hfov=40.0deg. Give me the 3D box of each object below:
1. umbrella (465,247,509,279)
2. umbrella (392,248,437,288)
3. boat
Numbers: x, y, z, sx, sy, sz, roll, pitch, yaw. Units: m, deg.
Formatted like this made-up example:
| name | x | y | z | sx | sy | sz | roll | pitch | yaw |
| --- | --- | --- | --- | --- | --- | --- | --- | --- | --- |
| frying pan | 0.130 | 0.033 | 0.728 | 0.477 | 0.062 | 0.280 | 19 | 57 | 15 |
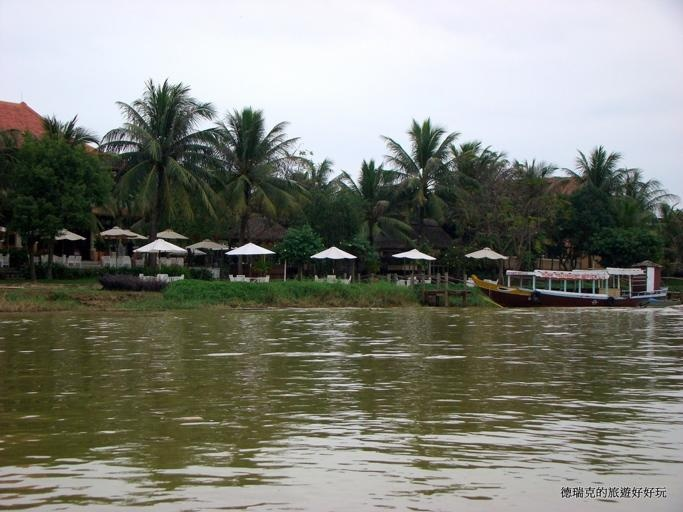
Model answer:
| name | x | y | z | sx | sy | sz | roll | pitch | yaw |
| --- | --- | --- | --- | --- | --- | --- | --- | --- | --- |
| umbrella | 8.771 | 0.324 | 56.996 | 2.017 | 1.569 | 2.124 | 3 | 1 | 24 |
| umbrella | 4.048 | 0.764 | 54.698 | 2.249 | 1.608 | 2.111 | 2 | 7 | -7 |
| boat | 12.218 | 1.072 | 50.656 | 11.866 | 2.460 | 3.424 | 4 | -8 | -23 |
